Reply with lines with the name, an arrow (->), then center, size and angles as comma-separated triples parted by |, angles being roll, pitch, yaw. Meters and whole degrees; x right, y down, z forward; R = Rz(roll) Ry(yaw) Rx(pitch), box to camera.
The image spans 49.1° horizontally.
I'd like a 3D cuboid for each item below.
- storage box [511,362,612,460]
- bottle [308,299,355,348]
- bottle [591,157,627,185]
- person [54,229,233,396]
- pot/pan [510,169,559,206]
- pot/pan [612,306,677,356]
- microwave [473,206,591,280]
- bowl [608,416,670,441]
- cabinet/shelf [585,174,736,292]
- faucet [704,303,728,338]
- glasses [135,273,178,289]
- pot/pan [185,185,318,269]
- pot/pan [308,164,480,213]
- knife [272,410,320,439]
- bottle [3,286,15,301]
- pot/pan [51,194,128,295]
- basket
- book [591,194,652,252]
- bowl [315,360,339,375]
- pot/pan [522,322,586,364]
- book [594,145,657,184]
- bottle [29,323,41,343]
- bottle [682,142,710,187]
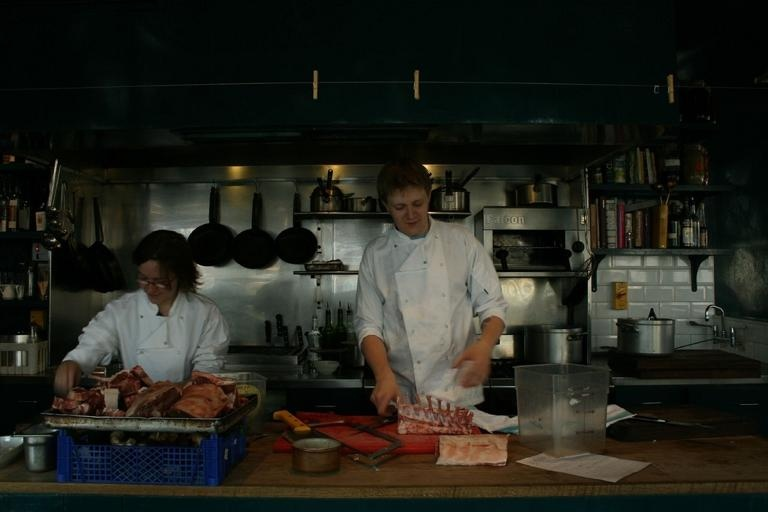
storage box -> 0.912, 0.794, 4.487 | 0.505, 0.433, 0.489 | 1, -2, -34
bottle -> -0.401, 0.510, 6.330 | 0.364, 0.367, 0.354 | 0, -7, -5
bottle -> 1.720, -0.648, 6.406 | 0.315, 0.198, 0.286 | -1, 8, 5
person -> -1.329, 0.307, 5.409 | 1.170, 1.469, 1.025 | 1, 4, -4
pot/pan -> 1.126, -0.491, 6.330 | 0.260, 0.170, 0.303 | 1, -3, -1
pot/pan -> 1.821, 0.549, 5.893 | 0.450, 0.233, 0.253 | 0, -1, -2
microwave -> 1.091, -0.137, 6.217 | 0.785, 0.418, 0.509 | -1, -6, -1
bowl -> 1.365, 0.932, 4.553 | 0.268, 0.118, 0.225 | 5, -9, -44
cabinet/shelf -> 2.044, -0.134, 6.272 | 0.988, 0.696, 0.305 | 1, 0, -11
faucet -> 2.565, 0.505, 6.498 | 0.078, 0.252, 0.177 | 2, -7, -25
glasses -> -1.329, 0.155, 4.907 | 0.180, 0.080, 0.067 | 2, -7, -22
pot/pan -> -1.034, -0.088, 6.525 | 0.594, 0.865, 0.130 | -3, 9, 3
pot/pan -> 0.040, -0.458, 6.254 | 1.310, 0.401, 0.444 | 0, -1, 1
knife -> -0.494, 0.911, 4.567 | 0.105, 0.050, 0.268 | 2, 3, -25
bottle -> -2.758, 0.271, 6.159 | 0.111, 0.093, 0.082 | -3, 8, -37
pot/pan -> -2.214, -0.089, 6.270 | 0.571, 0.681, 0.237 | -3, 8, -33
basket -> -1.204, 1.000, 4.189 | 0.830, 0.282, 0.092 | -1, -7, 1
book -> 1.794, -0.240, 6.359 | 0.491, 0.382, 0.136 | 0, -7, -6
bowl -> -0.380, 0.793, 5.988 | 0.213, 0.105, 0.122 | 4, -8, -37
pot/pan -> 1.241, 0.648, 6.080 | 0.289, 0.174, 0.460 | 5, -7, -34
book -> 1.836, -0.653, 6.403 | 0.365, 0.315, 0.359 | -1, 3, 9
bottle -> -2.572, 0.567, 6.221 | 0.071, 0.146, 0.524 | 2, -7, -22
bottle -> 2.371, -0.684, 6.361 | 0.220, 0.328, 0.099 | 1, -7, -13
